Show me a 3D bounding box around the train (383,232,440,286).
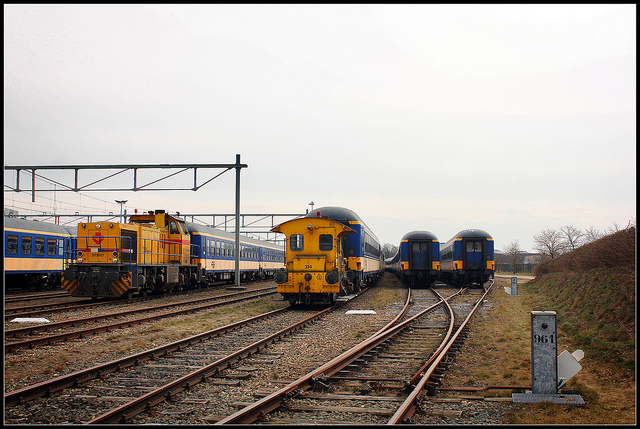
[{"bbox_3d":[6.644,3.261,39.463,2.263,3.487,9.429,-2,-6,5],"label":"train"}]
